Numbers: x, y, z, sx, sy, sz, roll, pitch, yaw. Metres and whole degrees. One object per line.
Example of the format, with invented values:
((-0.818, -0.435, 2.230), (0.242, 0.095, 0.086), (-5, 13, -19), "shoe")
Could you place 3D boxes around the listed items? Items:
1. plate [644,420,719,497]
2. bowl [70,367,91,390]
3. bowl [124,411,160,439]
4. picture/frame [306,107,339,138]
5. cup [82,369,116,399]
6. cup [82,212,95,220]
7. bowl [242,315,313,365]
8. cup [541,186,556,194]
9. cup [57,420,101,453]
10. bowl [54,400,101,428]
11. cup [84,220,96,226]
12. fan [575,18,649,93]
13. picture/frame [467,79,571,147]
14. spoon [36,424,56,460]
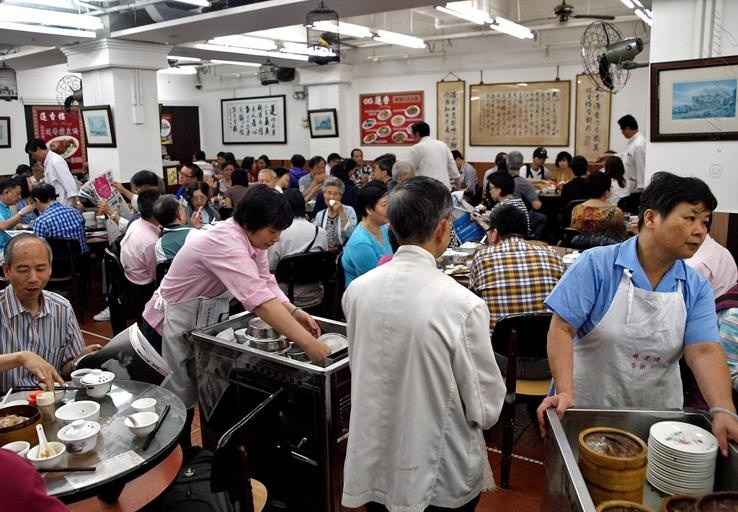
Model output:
((1.021, 0.670, 1.811), (0.200, 0.141, 0.202), (-2, 10, -11), "plate")
((-1.266, 0.563, 2.424), (0.072, 0.058, 0.074), (5, 17, -1), "bowl")
((-0.879, 0.667, 2.138), (0.094, 0.069, 0.094), (0, 17, 0), "bowl")
((-0.811, -2.644, 10.548), (0.620, 0.778, 0.058), (-7, 25, 26), "picture/frame")
((-1.164, 0.564, 2.371), (0.103, 0.082, 0.111), (2, 5, 0), "cup")
((-3.098, -0.458, 6.085), (0.099, 0.073, 0.098), (1, 6, 0), "cup")
((-0.440, 0.405, 2.559), (0.216, 0.067, 0.197), (23, 6, -3), "bowl")
((2.388, -0.867, 7.116), (0.121, 0.067, 0.181), (3, 10, 20), "cup")
((-1.059, 0.676, 2.015), (0.121, 0.096, 0.124), (0, 0, 0), "cup")
((-1.158, 0.638, 2.185), (0.109, 0.050, 0.116), (4, 17, -1), "bowl")
((-3.045, -0.365, 6.030), (0.076, 0.057, 0.076), (0, 1, 0), "cup")
((2.560, -2.014, 5.482), (0.594, 0.910, 0.694), (-10, 3, 28), "fan")
((2.618, -2.467, 9.101), (1.233, 0.790, 0.043), (6, 14, 33), "picture/frame")
((-1.147, 0.692, 1.977), (0.064, 0.131, 0.058), (-13, -29, -30), "spoon")
